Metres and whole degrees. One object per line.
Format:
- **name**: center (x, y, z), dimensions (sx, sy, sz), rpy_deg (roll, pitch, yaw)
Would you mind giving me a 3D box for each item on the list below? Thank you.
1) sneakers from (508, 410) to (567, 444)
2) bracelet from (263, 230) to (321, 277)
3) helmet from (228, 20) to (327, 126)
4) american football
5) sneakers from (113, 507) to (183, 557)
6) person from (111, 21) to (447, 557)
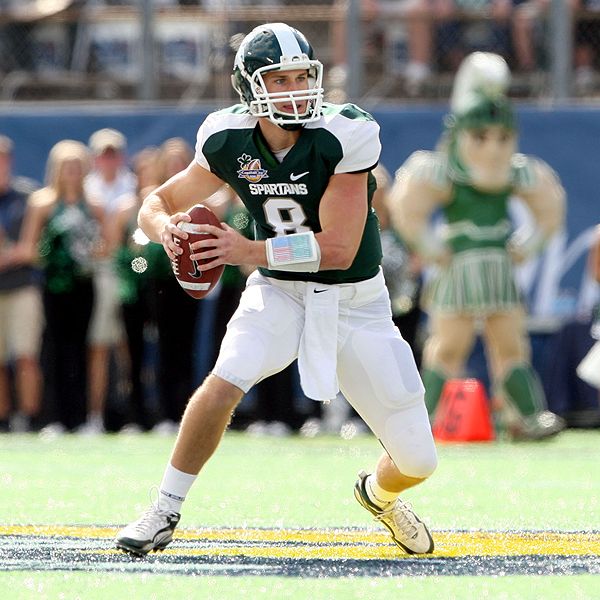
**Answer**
- **sneakers**: center (1.352, 0.734, 5.641), dimensions (0.140, 0.155, 0.397), rpy_deg (-6, -10, -41)
- **bracelet**: center (-0.019, -0.142, 3.039), dimensions (0.154, 0.120, 0.176), rpy_deg (0, 12, 20)
- **helmet**: center (-0.078, -0.708, 3.053), dimensions (0.276, 0.351, 0.267), rpy_deg (-6, 23, -15)
- **american football**: center (-0.347, -0.147, 3.114), dimensions (0.162, 0.286, 0.181), rpy_deg (-4, 16, -19)
- **sneakers**: center (-0.449, 0.687, 2.969), dimensions (0.093, 0.103, 0.230), rpy_deg (35, 13, 15)
- **person**: center (-0.078, -0.037, 3.124), dimensions (0.987, 1.698, 0.597), rpy_deg (-1, 10, -9)
